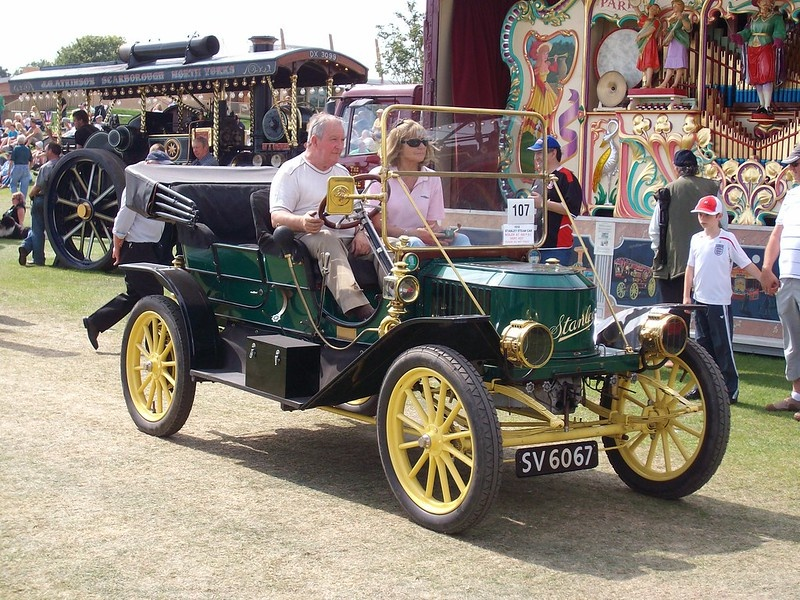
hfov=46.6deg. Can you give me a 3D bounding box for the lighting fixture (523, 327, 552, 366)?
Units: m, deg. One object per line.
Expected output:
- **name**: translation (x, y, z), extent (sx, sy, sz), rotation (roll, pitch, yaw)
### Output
- **lighting fixture**: translation (0.807, 0.264, 5.487), extent (0.201, 0.231, 0.207), rotation (-1, 3, -35)

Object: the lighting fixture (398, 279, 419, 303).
- **lighting fixture**: translation (0.045, -0.057, 5.760), extent (0.130, 0.138, 0.033), rotation (9, 1, -26)

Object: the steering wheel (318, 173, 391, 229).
- **steering wheel**: translation (-0.349, -0.622, 6.186), extent (0.402, 0.430, 0.098), rotation (-5, 25, -8)

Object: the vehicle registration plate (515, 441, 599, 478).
- **vehicle registration plate**: translation (0.933, 0.936, 5.522), extent (0.569, 0.172, 0.068), rotation (-3, 11, -25)

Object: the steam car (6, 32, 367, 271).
- **steam car**: translation (-3.608, -3.348, 17.290), extent (7.178, 4.550, 4.856), rotation (8, 16, 36)

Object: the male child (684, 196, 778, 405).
- **male child**: translation (2.892, 0.012, 8.228), extent (0.324, 1.875, 0.817), rotation (-10, 13, -37)

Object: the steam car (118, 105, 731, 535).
- **steam car**: translation (-0.434, 0.066, 7.257), extent (2.349, 2.721, 4.720), rotation (-2, 5, -43)

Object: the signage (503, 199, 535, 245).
- **signage**: translation (0.800, -0.543, 6.380), extent (0.301, 0.424, 0.041), rotation (-1, 3, -30)

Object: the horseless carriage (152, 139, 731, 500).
- **horseless carriage**: translation (-0.138, 0.095, 6.950), extent (2.448, 2.144, 4.619), rotation (-4, 8, -43)
